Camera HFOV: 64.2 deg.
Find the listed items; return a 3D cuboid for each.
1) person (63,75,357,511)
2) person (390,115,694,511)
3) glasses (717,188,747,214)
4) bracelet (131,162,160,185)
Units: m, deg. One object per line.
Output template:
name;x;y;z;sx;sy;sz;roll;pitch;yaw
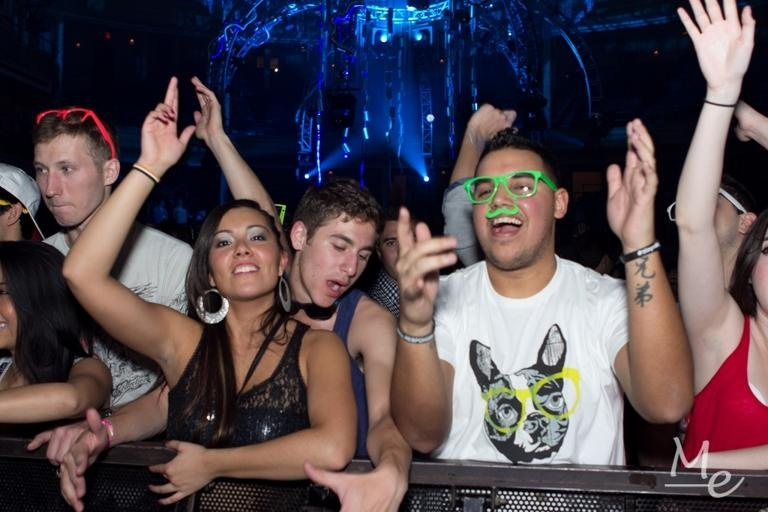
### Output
person;-0.784;0.059;2.919;1.312;1.873;1.132;0;7;-2
person;0.626;0.177;2.842;1.278;1.590;0.938;-2;8;-20
glasses;2.168;-0.337;3.823;0.174;0.042;0.127;41;11;2
bracelet;-1.115;-0.384;2.858;0.119;0.099;0.079;-2;7;-21
